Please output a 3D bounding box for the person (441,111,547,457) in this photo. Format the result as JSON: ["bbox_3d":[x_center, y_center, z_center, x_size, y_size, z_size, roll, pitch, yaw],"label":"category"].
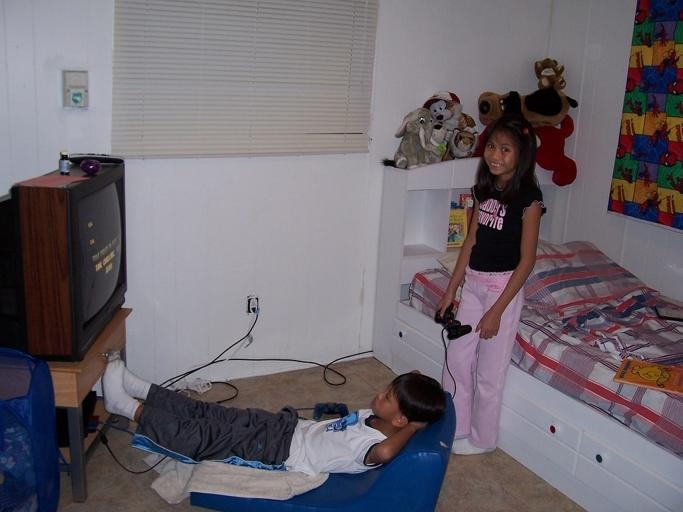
[{"bbox_3d":[0.782,0.208,2.686,0.485,1.864,0.305,6,15,23],"label":"person"}]

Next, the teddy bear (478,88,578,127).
[{"bbox_3d":[1.271,-1.029,3.439,0.687,0.226,0.507,-6,29,-4],"label":"teddy bear"}]

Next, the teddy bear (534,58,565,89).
[{"bbox_3d":[1.521,-1.340,3.659,0.232,0.217,0.175,9,17,29],"label":"teddy bear"}]

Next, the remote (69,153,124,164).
[{"bbox_3d":[-1.295,-0.514,2.633,0.252,0.045,0.126,-8,17,-29],"label":"remote"}]
